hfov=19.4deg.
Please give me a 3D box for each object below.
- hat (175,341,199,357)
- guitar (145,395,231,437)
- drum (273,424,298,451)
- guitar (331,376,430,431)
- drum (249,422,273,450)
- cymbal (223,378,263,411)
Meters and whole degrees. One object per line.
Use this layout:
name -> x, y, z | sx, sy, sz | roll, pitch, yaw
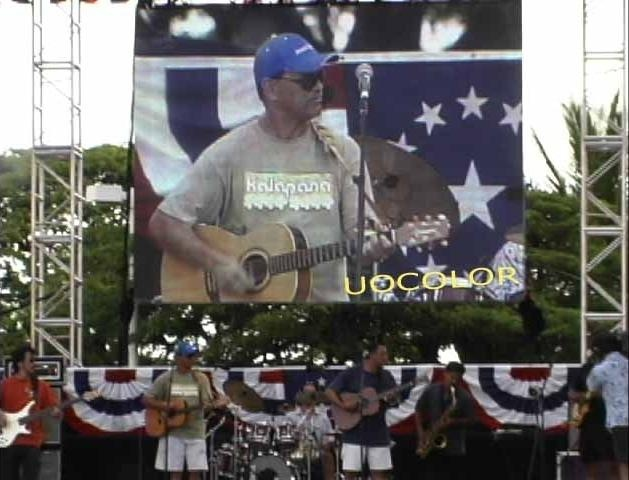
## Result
hat -> -2.143, 1.822, 31.226 | 0.396, 0.240, 0.271 | 0, -3, -4
guitar -> -2.217, 2.938, 31.279 | 1.257, 0.639, 0.174 | -7, -5, 8
drum -> -0.494, 3.378, 32.001 | 0.369, 0.367, 0.378 | 2, 13, 16
guitar -> 1.070, 2.784, 31.524 | 1.061, 0.798, 1.106 | -2, -3, 38
drum -> -0.907, 3.368, 32.105 | 0.335, 0.161, 0.440 | -2, 41, 6
cymbal -> 2.406, 2.730, 31.882 | 0.326, 0.832, 0.220 | 24, -50, -15
